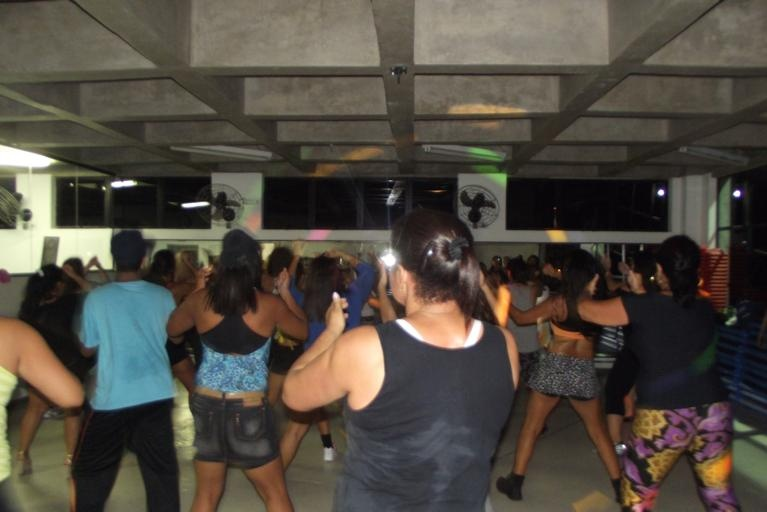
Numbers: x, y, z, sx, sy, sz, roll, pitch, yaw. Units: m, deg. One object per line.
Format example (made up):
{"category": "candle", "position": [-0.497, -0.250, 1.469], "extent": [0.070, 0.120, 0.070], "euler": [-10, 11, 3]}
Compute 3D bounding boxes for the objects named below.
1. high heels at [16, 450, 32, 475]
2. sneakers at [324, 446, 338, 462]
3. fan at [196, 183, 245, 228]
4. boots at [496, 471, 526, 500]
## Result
{"category": "high heels", "position": [-4.056, 2.318, 6.892], "extent": [0.142, 0.276, 0.238], "euler": [1, 0, -30]}
{"category": "sneakers", "position": [-0.636, 2.317, 7.086], "extent": [0.089, 0.095, 0.209], "euler": [1, -6, 4]}
{"category": "fan", "position": [-2.980, -0.935, 11.259], "extent": [0.729, 0.690, 0.480], "euler": [21, -5, -20]}
{"category": "boots", "position": [1.361, 2.482, 6.594], "extent": [0.182, 0.266, 0.378], "euler": [6, 7, -28]}
